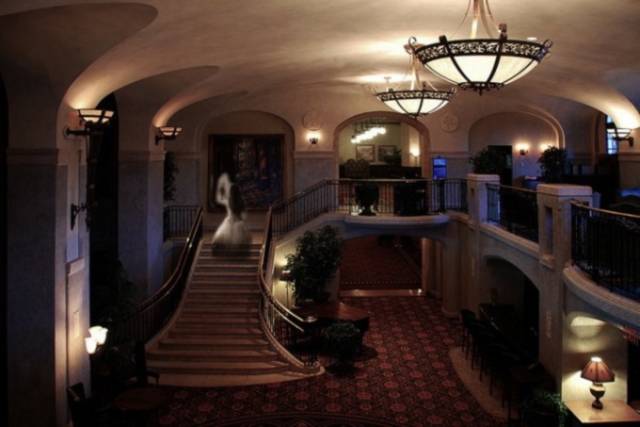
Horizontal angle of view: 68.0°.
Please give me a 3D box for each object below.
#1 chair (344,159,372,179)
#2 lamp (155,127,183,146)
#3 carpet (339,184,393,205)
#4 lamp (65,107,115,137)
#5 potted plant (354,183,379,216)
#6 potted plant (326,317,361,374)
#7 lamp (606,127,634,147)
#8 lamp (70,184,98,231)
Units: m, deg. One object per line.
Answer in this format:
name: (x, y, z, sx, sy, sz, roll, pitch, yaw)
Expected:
chair: (1.977, -2.339, 25.455, 1.890, 1.382, 0.979, -1, -2, -8)
lamp: (-4.266, -2.216, 13.229, 0.597, 0.437, 0.612, -1, 2, 7)
carpet: (1.800, -0.733, 17.688, 1.302, 0.352, 1.447, -1, 10, -2)
lamp: (-4.153, -1.652, 8.634, 0.777, 0.529, 0.523, 0, 8, -5)
potted plant: (1.488, -0.492, 15.166, 0.925, 1.321, 0.949, 1, -1, -3)
potted plant: (0.525, 3.196, 11.688, 1.072, 1.340, 0.981, 2, -6, -3)
lamp: (8.262, -2.110, 13.086, 0.510, 0.454, 0.591, 1, 6, 7)
lamp: (-4.643, -0.173, 9.357, 0.401, 0.925, 1.415, -2, 8, -22)
